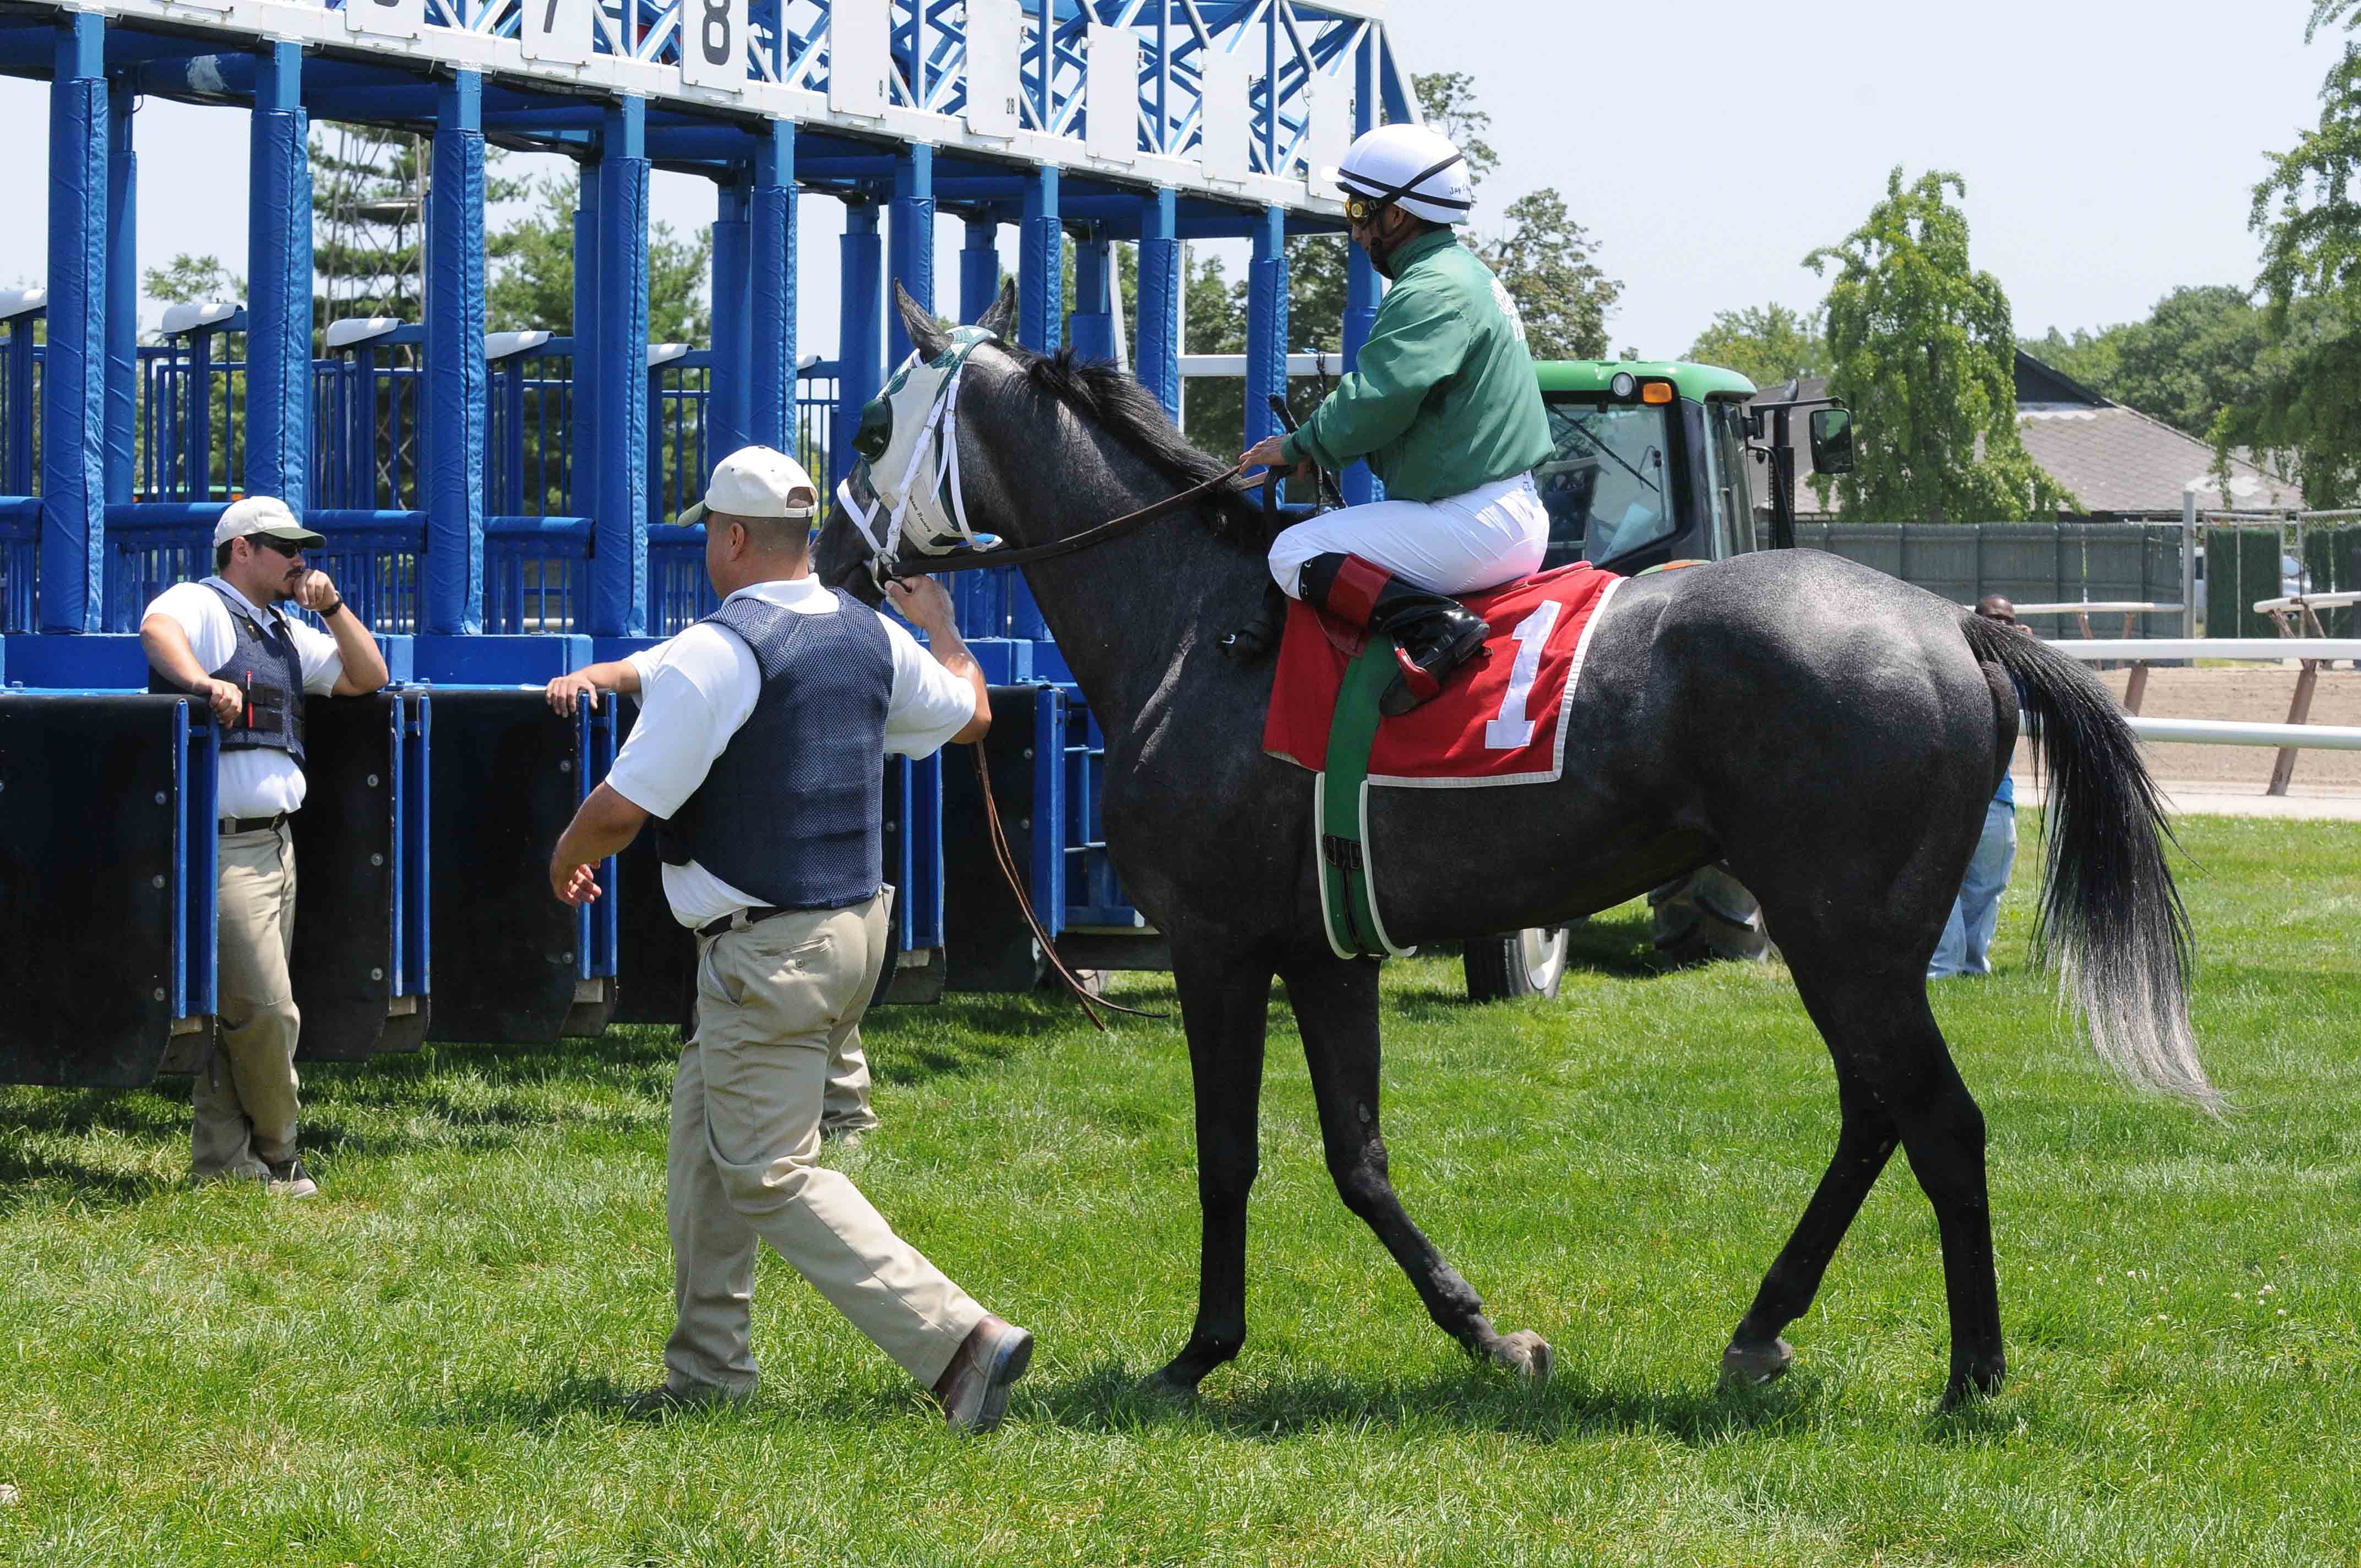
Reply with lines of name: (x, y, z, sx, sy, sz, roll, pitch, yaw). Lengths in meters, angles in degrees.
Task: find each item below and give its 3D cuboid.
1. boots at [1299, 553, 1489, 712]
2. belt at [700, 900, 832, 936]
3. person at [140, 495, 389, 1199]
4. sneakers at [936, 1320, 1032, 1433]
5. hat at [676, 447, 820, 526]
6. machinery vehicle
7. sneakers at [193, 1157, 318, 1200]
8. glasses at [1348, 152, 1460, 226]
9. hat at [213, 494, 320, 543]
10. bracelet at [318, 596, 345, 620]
boots: (0.557, -0.571, 11.544, 0.413, 0.486, 1.163, 10, 5, 14)
belt: (-1.326, 0.420, 10.835, 0.165, 0.053, 0.182, -18, -6, 40)
person: (-3.364, 0.233, 12.777, 0.670, 2.472, 0.841, 0, 14, -1)
sneakers: (-0.618, 1.838, 10.783, 0.224, 0.448, 0.169, 14, 17, -2)
hat: (-1.364, -0.942, 10.992, 0.322, 0.181, 0.228, 7, 8, 21)
machinery vehicle: (1.837, -0.637, 17.017, 2.087, 2.768, 3.263, 3, -12, 19)
sneakers: (-3.340, 1.446, 12.723, 0.484, 0.196, 0.164, -1, 0, 11)
glasses: (0.706, -1.928, 11.262, 0.303, 0.154, 0.220, 6, 19, 15)
hat: (-3.358, -0.956, 12.807, 0.330, 0.165, 0.238, 1, 5, -1)
bracelet: (-3.148, -0.651, 12.922, 0.114, 0.078, 0.111, 0, 2, -7)
